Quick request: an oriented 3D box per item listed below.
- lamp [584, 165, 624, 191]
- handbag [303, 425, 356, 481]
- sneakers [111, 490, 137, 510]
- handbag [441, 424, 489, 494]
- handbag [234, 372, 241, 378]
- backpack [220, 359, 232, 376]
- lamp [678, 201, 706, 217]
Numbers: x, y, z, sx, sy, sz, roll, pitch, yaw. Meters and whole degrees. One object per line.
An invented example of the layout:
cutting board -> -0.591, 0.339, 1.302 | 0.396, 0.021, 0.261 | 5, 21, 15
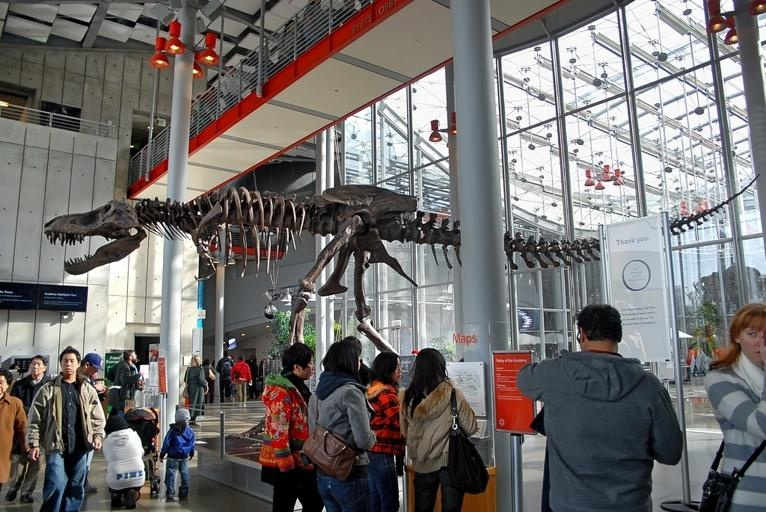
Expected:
lamp -> 5.462, -1.921, 13.191 | 0.643, 0.315, 0.754 | 6, -8, -35
handbag -> -0.433, 1.628, 4.510 | 0.442, 0.293, 0.208 | 26, 6, 25
sneakers -> -3.310, 3.090, 6.847 | 0.121, 0.171, 0.377 | 25, -17, -18
handbag -> 0.689, 1.815, 4.817 | 0.333, 0.634, 0.580 | -6, -17, 2
handbag -> -4.558, 3.705, 16.798 | 0.156, 0.035, 0.148 | -1, 13, -31
backpack -> -5.042, 3.537, 17.160 | 0.440, 0.607, 0.339 | 8, -21, -29
lamp -> 6.958, -1.104, 12.042 | 0.575, 0.363, 0.406 | -7, -11, 33
